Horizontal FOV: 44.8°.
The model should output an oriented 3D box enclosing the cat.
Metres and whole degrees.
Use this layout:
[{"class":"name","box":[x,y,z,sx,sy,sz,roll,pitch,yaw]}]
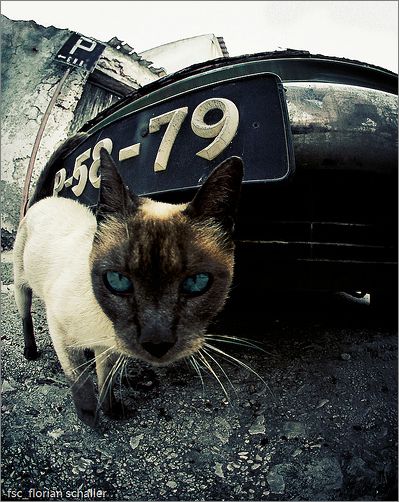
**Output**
[{"class":"cat","box":[-0.398,-0.022,2.380,0.645,1.131,1.827,-2,22,-33]}]
